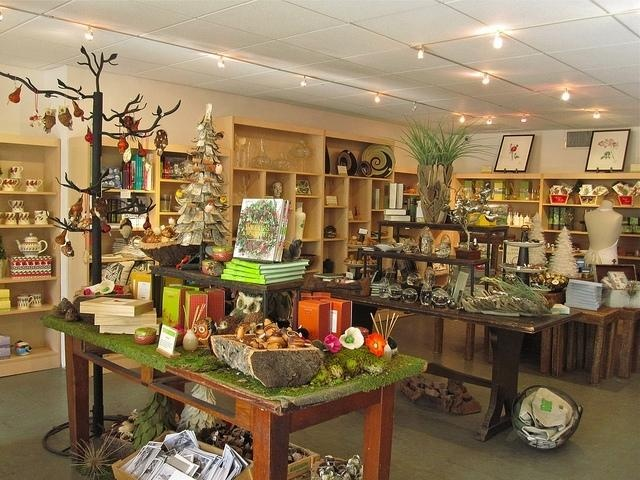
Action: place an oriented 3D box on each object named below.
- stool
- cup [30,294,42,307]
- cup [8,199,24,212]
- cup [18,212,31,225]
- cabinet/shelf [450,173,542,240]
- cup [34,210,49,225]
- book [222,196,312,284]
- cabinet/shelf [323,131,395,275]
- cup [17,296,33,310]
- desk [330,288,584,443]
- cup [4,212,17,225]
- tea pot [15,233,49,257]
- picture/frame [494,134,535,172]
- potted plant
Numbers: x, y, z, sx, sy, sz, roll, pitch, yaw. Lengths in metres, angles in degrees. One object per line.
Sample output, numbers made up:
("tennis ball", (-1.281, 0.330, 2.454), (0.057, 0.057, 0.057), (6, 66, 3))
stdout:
("stool", (3.271, 1.325, 5.725), (0.723, 0.702, 0.748), (-2, -5, 28))
("cup", (-3.459, 0.733, 5.455), (0.151, 0.140, 0.143), (1, -1, 0))
("cup", (-3.605, -0.397, 5.327), (0.136, 0.157, 0.201), (0, 1, -30))
("cup", (-3.494, -0.249, 5.280), (0.111, 0.138, 0.112), (2, 5, 0))
("cabinet/shelf", (3.718, -0.823, 9.364), (1.560, 1.235, 0.346), (2, -19, 17))
("cup", (-3.333, -0.264, 5.356), (0.170, 0.164, 0.248), (1, 1, -24))
("book", (-0.337, 0.003, 2.690), (0.472, 0.498, 0.315), (5, 6, 30))
("cabinet/shelf", (0.546, -0.602, 7.877), (1.579, 2.286, 0.507), (-2, 7, -40))
("cup", (-3.531, 0.758, 5.442), (0.128, 0.158, 0.202), (0, -2, 38))
("desk", (1.055, 1.077, 4.216), (2.120, 0.918, 0.964), (15, -15, -2))
("cup", (-3.597, -0.247, 5.218), (0.171, 0.154, 0.157), (2, 1, 0))
("tea pot", (-3.552, 0.065, 5.454), (0.367, 0.275, 0.306), (2, 5, -3))
("picture/frame", (4.085, -1.809, 9.426), (0.633, 0.826, 0.374), (6, 6, 40))
("potted plant", (1.316, -0.714, 4.976), (0.801, 0.900, 0.693), (8, 9, -2))
